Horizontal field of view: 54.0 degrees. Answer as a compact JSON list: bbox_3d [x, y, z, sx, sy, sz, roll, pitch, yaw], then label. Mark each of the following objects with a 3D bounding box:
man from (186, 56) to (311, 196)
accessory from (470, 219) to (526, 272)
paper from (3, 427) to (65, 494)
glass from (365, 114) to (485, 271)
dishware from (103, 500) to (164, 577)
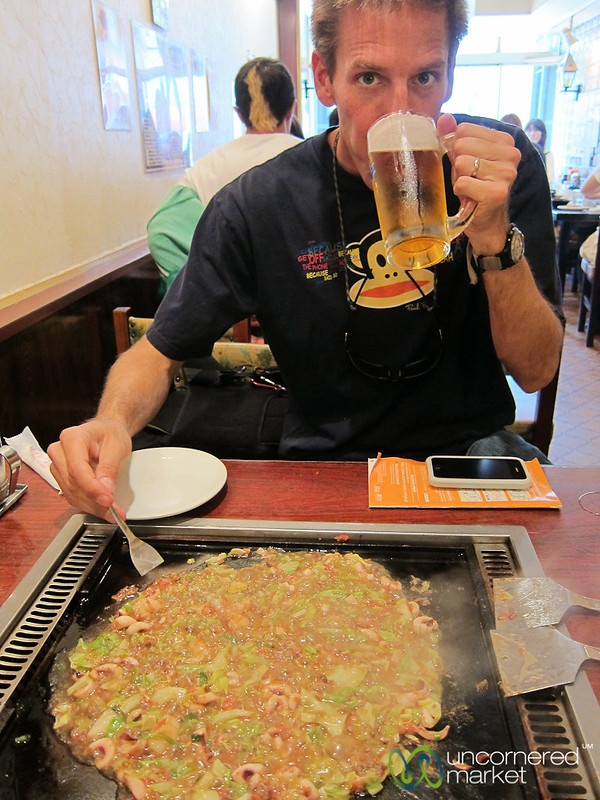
[{"bbox_3d":[-0.199,-1.342,3.054,0.920,0.642,0.449,3,15,9],"label":"man"},{"bbox_3d":[0.413,-0.290,1.195,0.119,0.083,0.129,4,21,32],"label":"accessory"},{"bbox_3d":[-0.591,0.117,1.290,0.091,0.059,0.296,-28,35,-18],"label":"paper"},{"bbox_3d":[0.163,-0.297,0.935,0.220,0.225,0.138,-7,-18,2],"label":"glass"},{"bbox_3d":[-0.267,0.244,0.952,0.049,0.028,0.163,-21,64,-25],"label":"dishware"}]
